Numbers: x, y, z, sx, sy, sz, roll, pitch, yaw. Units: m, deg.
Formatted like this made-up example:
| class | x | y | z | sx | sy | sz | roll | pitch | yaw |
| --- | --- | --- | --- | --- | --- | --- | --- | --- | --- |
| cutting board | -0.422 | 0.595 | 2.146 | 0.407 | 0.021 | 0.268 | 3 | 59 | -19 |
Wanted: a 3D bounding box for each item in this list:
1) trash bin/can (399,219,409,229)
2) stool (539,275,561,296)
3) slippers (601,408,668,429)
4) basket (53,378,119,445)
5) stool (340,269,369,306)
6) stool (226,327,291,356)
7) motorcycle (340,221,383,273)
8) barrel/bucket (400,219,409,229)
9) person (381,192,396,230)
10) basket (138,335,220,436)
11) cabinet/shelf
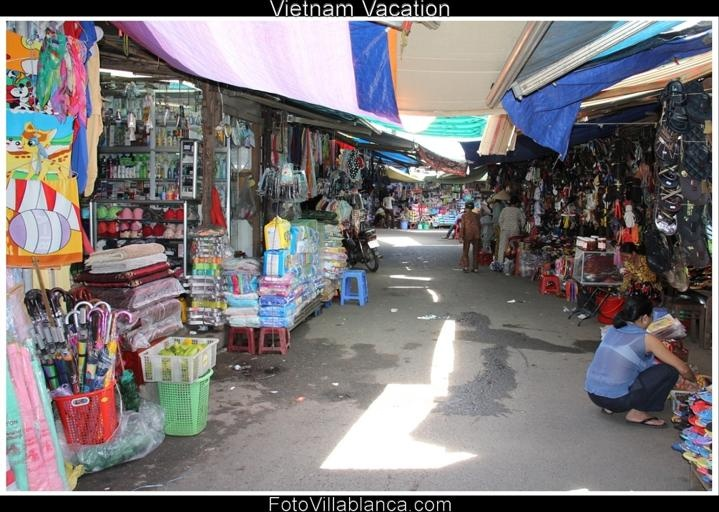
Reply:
| class | x | y | z | sx | sy | sz | roll | pitch | yaw |
| --- | --- | --- | --- | --- | --- | --- | --- | --- | --- |
| trash bin/can | 2.626 | -1.893 | 29.141 | 0.568 | 0.546 | 0.538 | 3 | 12 | 9 |
| stool | 3.769 | 0.574 | 9.794 | 0.402 | 0.330 | 0.382 | 0 | 2 | 9 |
| slippers | 2.504 | 1.469 | 4.457 | 0.398 | 0.052 | 0.122 | 3 | 19 | 28 |
| basket | -1.993 | 1.165 | 3.709 | 0.463 | 0.336 | 0.468 | -2 | 0 | -19 |
| stool | -0.114 | 0.562 | 9.143 | 0.639 | 0.650 | 0.598 | 0 | 2 | 3 |
| stool | -1.349 | 1.080 | 6.343 | 0.589 | 0.259 | 0.428 | 1 | 0 | 1 |
| motorcycle | -0.020 | -0.208 | 12.223 | 1.129 | 1.230 | 0.537 | -6 | 10 | -40 |
| barrel/bucket | 2.649 | -1.882 | 29.171 | 0.553 | 0.527 | 0.514 | 1 | 10 | 0 |
| person | 1.703 | -2.742 | 29.023 | 0.715 | 2.055 | 1.177 | 1 | 8 | 6 |
| basket | -1.584 | 1.138 | 4.368 | 0.617 | 0.698 | 0.642 | -2 | 8 | -17 |
| cabinet/shelf | -3.438 | -0.887 | 8.191 | 3.537 | 2.033 | 1.931 | 5 | 9 | 32 |
